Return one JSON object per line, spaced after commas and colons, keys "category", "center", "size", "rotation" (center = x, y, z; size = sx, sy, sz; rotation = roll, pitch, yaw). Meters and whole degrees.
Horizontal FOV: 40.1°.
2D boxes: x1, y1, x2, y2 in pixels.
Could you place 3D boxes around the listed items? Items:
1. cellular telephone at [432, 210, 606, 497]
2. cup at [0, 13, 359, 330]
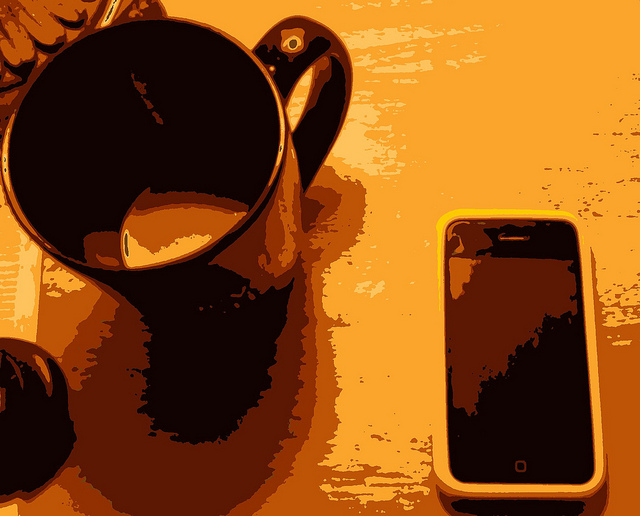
{"category": "cellular telephone", "center": [0.167, 0.083, 0.773], "size": [0.146, 0.191, 0.173], "rotation": [-3, 36, 7]}
{"category": "cup", "center": [-0.130, -0.077, 0.832], "size": [0.305, 0.215, 0.226], "rotation": [-38, 82, -1]}
